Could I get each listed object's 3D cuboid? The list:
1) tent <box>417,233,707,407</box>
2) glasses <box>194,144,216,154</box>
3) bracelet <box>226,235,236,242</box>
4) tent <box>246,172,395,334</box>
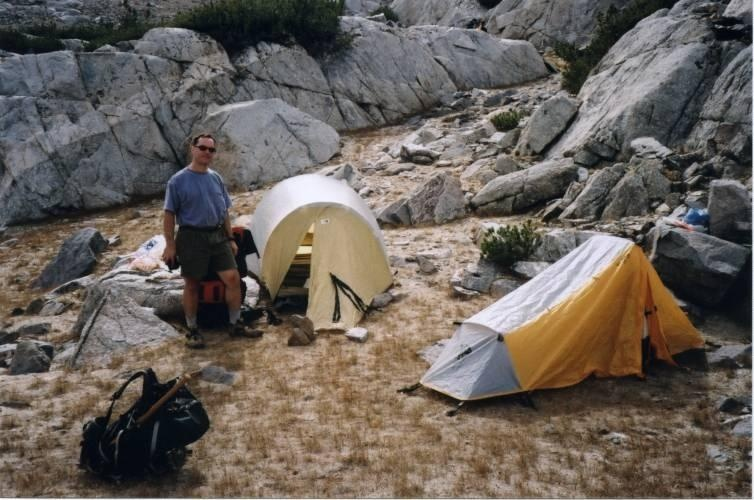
[{"bbox_3d":[3.512,1.409,14.344,4.068,2.024,3.367,-10,10,-12],"label":"tent"},{"bbox_3d":[-3.471,-2.068,14.301,0.429,0.230,0.190,-4,31,-13],"label":"glasses"},{"bbox_3d":[-3.038,-0.265,14.825,0.121,0.089,0.165,4,8,1],"label":"bracelet"},{"bbox_3d":[-1.383,-0.187,16.392,2.210,2.026,3.732,-5,26,-14],"label":"tent"}]
